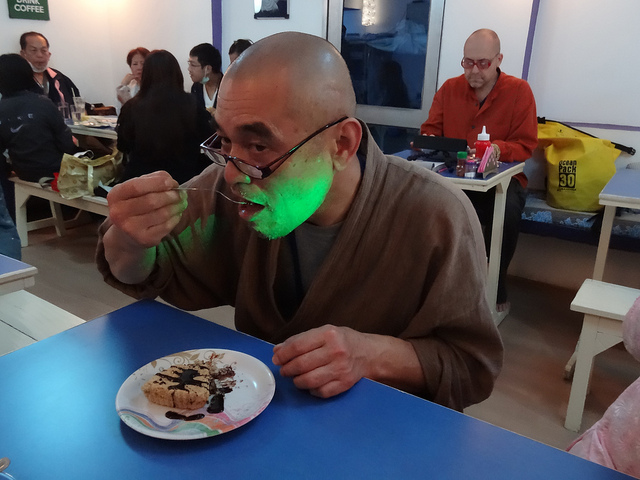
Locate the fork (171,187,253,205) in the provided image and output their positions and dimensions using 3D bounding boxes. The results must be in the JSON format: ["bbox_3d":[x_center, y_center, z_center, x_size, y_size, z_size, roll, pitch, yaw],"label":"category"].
[{"bbox_3d":[-0.290,-0.117,1.193,0.280,0.034,0.022,8,41,8],"label":"fork"}]

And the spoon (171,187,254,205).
[{"bbox_3d":[-0.289,-0.117,1.189,0.225,0.025,0.027,11,44,16],"label":"spoon"}]

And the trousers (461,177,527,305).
[{"bbox_3d":[1.292,-0.119,3.276,0.433,1.132,0.444,16,23,33],"label":"trousers"}]

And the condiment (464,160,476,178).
[{"bbox_3d":[0.901,-0.428,2.681,0.077,0.143,0.088,1,13,8],"label":"condiment"}]

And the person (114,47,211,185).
[{"bbox_3d":[-1.156,-0.951,3.232,0.787,0.882,0.512,-16,43,-32],"label":"person"}]

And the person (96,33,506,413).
[{"bbox_3d":[-0.076,0.021,1.288,1.078,1.055,0.721,10,26,20],"label":"person"}]

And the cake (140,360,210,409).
[{"bbox_3d":[-0.288,0.325,0.955,0.118,0.038,0.133,4,-5,6],"label":"cake"}]

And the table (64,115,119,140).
[{"bbox_3d":[-2.403,-1.171,4.682,0.525,0.136,0.371,17,29,26],"label":"table"}]

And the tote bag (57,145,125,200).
[{"bbox_3d":[-1.953,-0.626,3.858,0.259,0.348,0.591,24,30,17],"label":"tote bag"}]
